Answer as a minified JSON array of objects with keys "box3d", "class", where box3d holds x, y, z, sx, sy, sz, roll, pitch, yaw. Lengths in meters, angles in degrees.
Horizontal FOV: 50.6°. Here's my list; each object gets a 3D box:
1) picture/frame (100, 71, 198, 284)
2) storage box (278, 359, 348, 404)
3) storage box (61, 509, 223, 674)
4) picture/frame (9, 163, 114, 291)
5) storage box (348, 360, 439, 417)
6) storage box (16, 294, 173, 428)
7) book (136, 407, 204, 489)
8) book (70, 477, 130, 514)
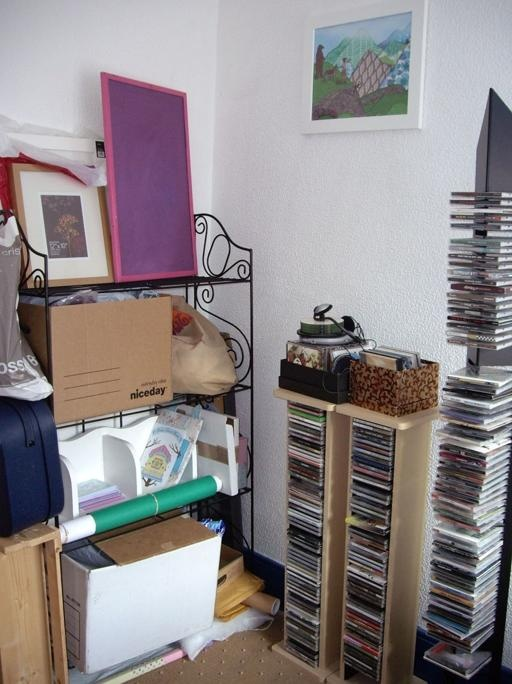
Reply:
[{"box3d":[-0.349,-0.546,1.853,0.024,0.640,0.416,8,18,31],"class":"picture/frame"},{"box3d":[0.168,0.111,1.579,0.055,0.095,0.238,-12,14,-40],"class":"storage box"},{"box3d":[-0.361,0.760,1.683,0.421,0.297,0.241,-3,4,-34],"class":"storage box"},{"box3d":[-0.576,-0.340,1.618,0.024,0.346,0.352,0,10,26],"class":"picture/frame"},{"box3d":[0.366,0.106,1.496,0.204,0.127,0.205,-6,11,-41],"class":"storage box"},{"box3d":[-0.360,0.046,1.611,0.414,0.320,0.232,-7,-5,14],"class":"storage box"},{"box3d":[-0.295,0.363,1.894,0.065,0.246,0.235,28,-14,-41],"class":"book"},{"box3d":[-0.485,0.479,1.683,0.121,0.029,0.120,-7,15,-37],"class":"book"}]
